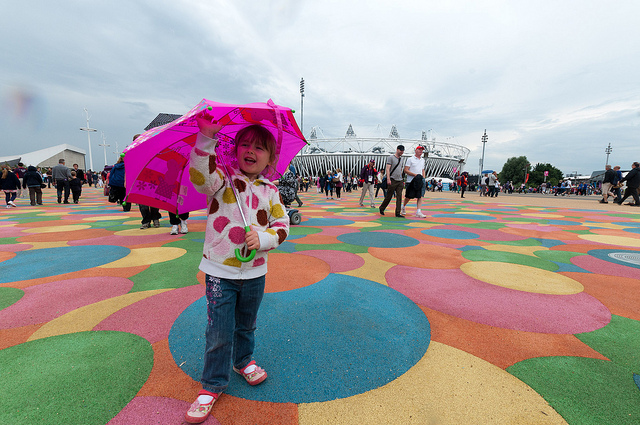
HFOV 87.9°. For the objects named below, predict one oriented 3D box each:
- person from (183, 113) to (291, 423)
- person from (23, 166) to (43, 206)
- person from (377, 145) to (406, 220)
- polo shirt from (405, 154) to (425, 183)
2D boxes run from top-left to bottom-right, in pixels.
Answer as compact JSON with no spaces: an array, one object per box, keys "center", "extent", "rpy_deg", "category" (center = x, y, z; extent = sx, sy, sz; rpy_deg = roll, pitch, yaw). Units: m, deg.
[{"center":[-0.784,0.428,3.111],"extent":[1.043,2.630,0.665],"rpy_deg":[-5,13,-26],"category":"person"},{"center":[-11.192,-1.013,12.939],"extent":[0.514,1.556,0.965],"rpy_deg":[-10,15,-40],"category":"person"},{"center":[2.168,-0.899,9.792],"extent":[0.848,2.141,0.798],"rpy_deg":[7,10,36],"category":"person"},{"center":[2.712,-1.240,9.548],"extent":[0.742,0.915,0.472],"rpy_deg":[-4,8,-33],"category":"polo shirt"}]
